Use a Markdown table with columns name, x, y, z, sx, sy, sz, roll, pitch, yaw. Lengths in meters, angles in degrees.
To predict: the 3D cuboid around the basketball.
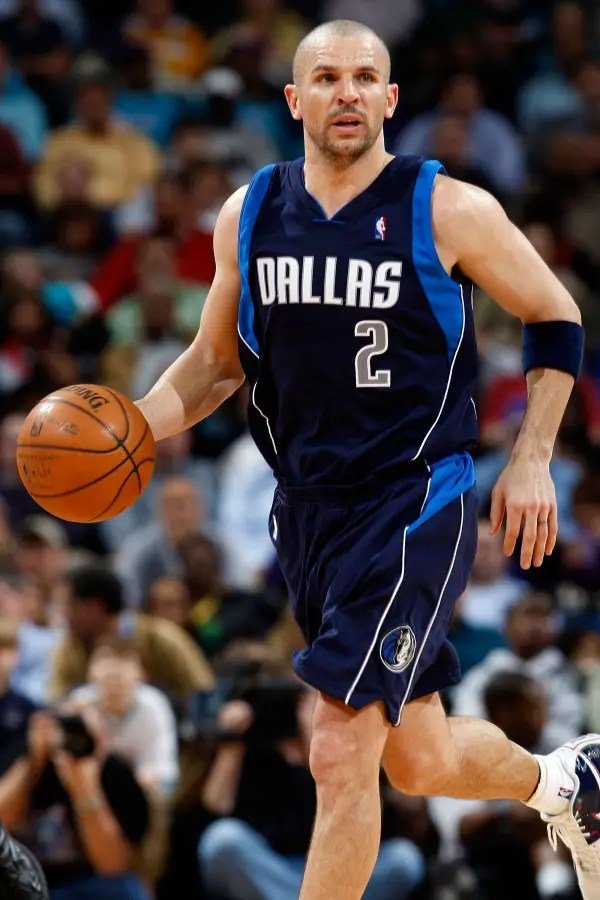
| name | x | y | z | sx | sy | sz | roll | pitch | yaw |
| --- | --- | --- | --- | --- | --- | --- | --- | --- | --- |
| basketball | -0.569 | -0.003 | 2.498 | 0.324 | 0.340 | 0.314 | -18 | 34 | -40 |
